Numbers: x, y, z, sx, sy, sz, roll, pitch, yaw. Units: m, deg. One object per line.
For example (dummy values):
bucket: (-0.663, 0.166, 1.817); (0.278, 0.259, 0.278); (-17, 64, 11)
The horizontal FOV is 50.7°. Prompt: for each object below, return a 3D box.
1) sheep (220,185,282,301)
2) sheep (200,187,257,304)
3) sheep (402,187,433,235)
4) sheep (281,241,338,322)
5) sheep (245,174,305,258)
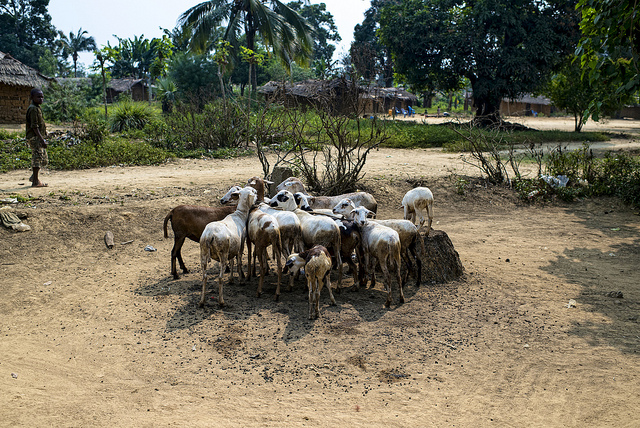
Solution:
sheep: (-1.574, 0.679, 17.119); (0.906, 2.450, 2.894); (-2, 11, -24)
sheep: (-2.199, 0.745, 16.833); (0.842, 2.348, 2.919); (4, 14, 14)
sheep: (2.712, -0.055, 19.220); (0.527, 1.337, 1.784); (0, -3, -15)
sheep: (-0.188, 1.534, 15.935); (1.046, 1.656, 1.042); (5, 12, 33)
sheep: (-1.203, 0.256, 17.074); (0.830, 2.110, 2.405); (-10, 19, -30)
